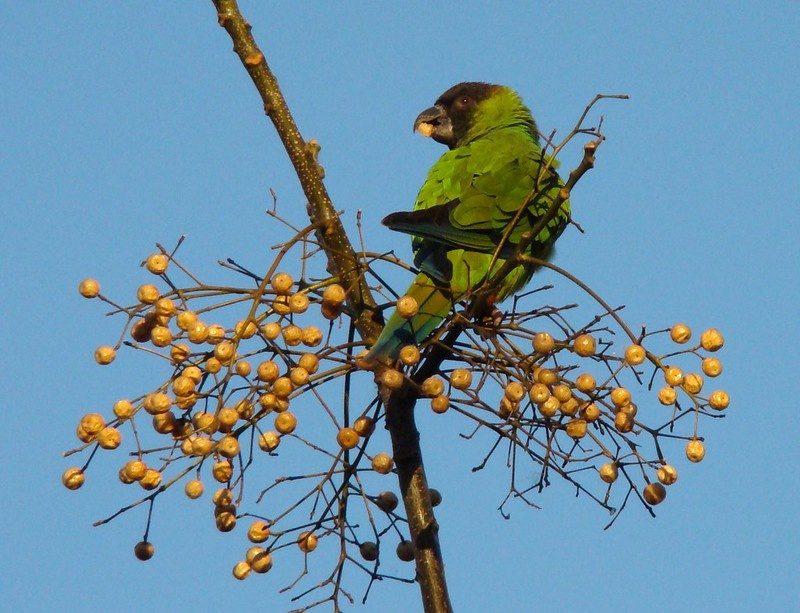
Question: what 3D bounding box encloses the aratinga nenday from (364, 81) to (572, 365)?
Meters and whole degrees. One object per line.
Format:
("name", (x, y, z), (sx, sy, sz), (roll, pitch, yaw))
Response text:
("aratinga nenday", (0.229, -0.407, 7.543), (0.944, 0.742, 1.255), (-4, -87, -29))
